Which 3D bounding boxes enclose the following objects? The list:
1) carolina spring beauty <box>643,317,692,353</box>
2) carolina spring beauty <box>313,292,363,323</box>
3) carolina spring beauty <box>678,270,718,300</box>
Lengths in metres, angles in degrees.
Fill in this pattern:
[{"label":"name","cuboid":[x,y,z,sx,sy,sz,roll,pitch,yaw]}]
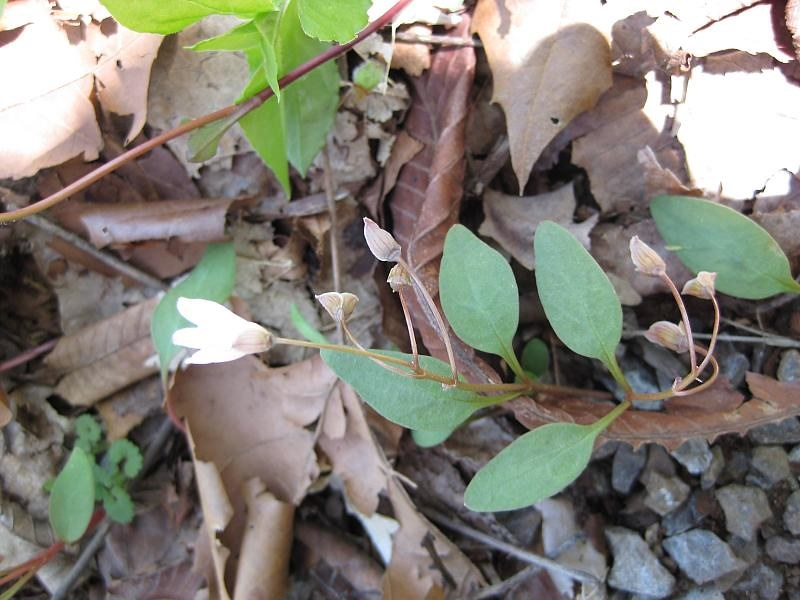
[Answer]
[{"label":"carolina spring beauty","cuboid":[0.452,0.062,1.251,0.059,0.050,0.023,22,-9,16]},{"label":"carolina spring beauty","cuboid":[-0.107,0.027,1.232,0.056,0.035,0.058,-9,-6,26]},{"label":"carolina spring beauty","cuboid":[0.525,-0.021,1.298,0.052,0.041,0.132,-15,5,27]}]
